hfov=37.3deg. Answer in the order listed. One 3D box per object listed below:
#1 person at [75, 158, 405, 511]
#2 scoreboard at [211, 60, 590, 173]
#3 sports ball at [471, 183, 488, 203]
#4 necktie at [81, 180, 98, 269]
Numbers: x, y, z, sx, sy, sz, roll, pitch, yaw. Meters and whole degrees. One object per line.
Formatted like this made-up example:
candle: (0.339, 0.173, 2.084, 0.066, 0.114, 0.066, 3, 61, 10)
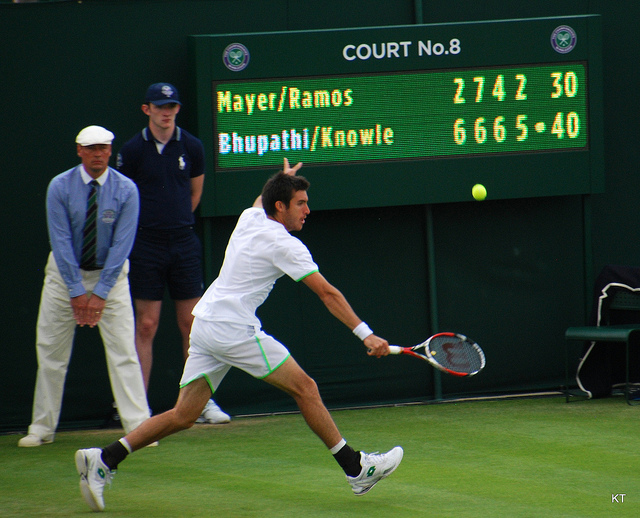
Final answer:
person: (-0.414, 0.437, 5.229, 1.709, 1.824, 0.483, -1, 7, -3)
scoreboard: (0.620, -1.121, 7.225, 3.586, 0.992, 0.162, -6, 14, -24)
sports ball: (1.229, -0.538, 7.343, 0.109, 0.134, 0.082, 2, 7, 23)
necktie: (-1.500, -0.234, 6.140, 0.086, 0.572, 0.121, -6, 8, -36)
